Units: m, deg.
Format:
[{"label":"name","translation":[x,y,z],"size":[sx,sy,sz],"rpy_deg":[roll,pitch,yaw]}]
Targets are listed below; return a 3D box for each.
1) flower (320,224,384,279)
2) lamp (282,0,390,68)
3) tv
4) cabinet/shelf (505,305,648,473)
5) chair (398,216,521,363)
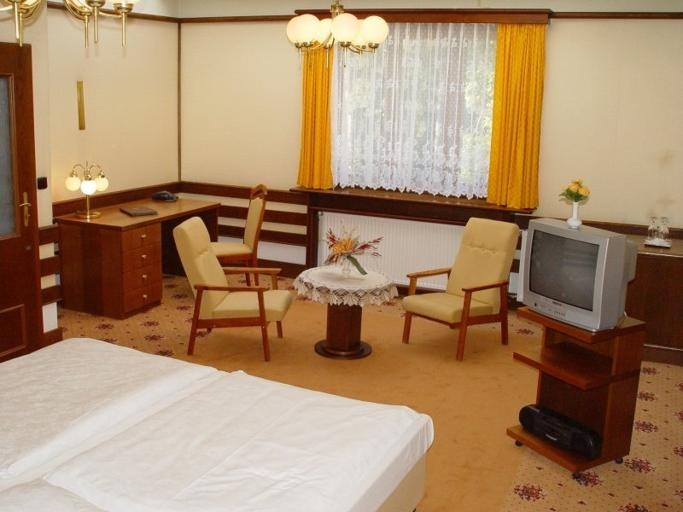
[{"label":"flower","translation":[0.009,-0.078,5.546],"size":[0.598,0.426,0.606],"rpy_deg":[7,11,29]},{"label":"lamp","translation":[-0.047,-1.815,4.247],"size":[0.622,0.403,0.572],"rpy_deg":[-10,18,-36]},{"label":"tv","translation":[1.852,0.141,4.123],"size":[0.781,0.784,0.891],"rpy_deg":[-10,17,-26]},{"label":"cabinet/shelf","translation":[1.736,1.015,3.999],"size":[0.718,1.393,0.875],"rpy_deg":[-7,15,-32]},{"label":"chair","translation":[1.216,0.295,5.634],"size":[1.010,1.263,0.742],"rpy_deg":[-9,18,-34]}]
